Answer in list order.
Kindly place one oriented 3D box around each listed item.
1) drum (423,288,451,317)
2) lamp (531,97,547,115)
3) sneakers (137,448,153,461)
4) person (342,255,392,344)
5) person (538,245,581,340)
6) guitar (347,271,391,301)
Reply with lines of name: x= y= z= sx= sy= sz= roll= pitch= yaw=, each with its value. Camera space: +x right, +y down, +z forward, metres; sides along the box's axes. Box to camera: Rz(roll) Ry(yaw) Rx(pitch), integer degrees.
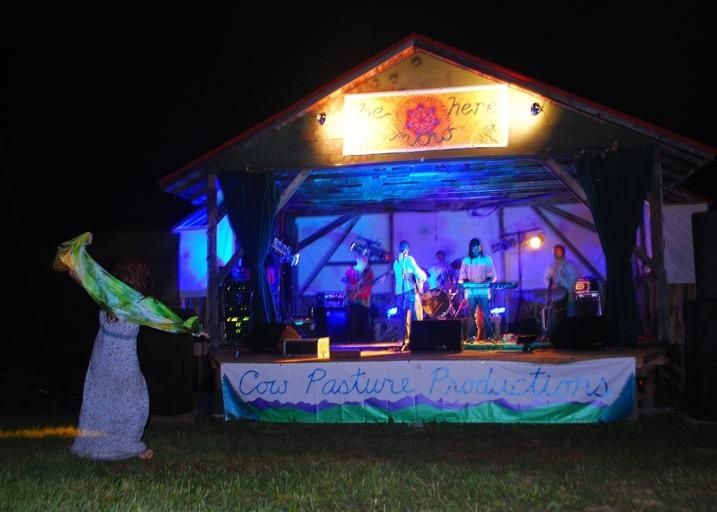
drum: x=1.820 y=1.134 z=17.032 sx=0.628 sy=0.735 sz=0.404 roll=0 pitch=8 yaw=4
lamp: x=3.866 y=-3.183 z=15.584 sx=0.313 sy=0.299 sz=0.075 roll=0 pitch=8 yaw=5
sneakers: x=-3.566 y=3.342 z=12.144 sx=0.178 sy=0.120 sz=0.261 roll=0 pitch=-13 yaw=10
person: x=0.007 y=1.078 z=18.708 sx=0.932 sy=2.511 sz=0.642 roll=-1 pitch=22 yaw=-10
person: x=4.881 y=0.911 z=17.477 sx=0.792 sy=2.230 sz=0.887 roll=2 pitch=9 yaw=15
guitar: x=0.430 y=0.732 z=19.048 sx=0.809 sy=0.668 sz=1.511 roll=4 pitch=10 yaw=28
